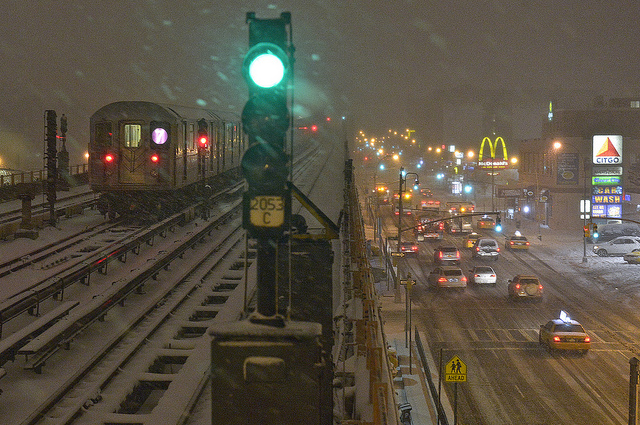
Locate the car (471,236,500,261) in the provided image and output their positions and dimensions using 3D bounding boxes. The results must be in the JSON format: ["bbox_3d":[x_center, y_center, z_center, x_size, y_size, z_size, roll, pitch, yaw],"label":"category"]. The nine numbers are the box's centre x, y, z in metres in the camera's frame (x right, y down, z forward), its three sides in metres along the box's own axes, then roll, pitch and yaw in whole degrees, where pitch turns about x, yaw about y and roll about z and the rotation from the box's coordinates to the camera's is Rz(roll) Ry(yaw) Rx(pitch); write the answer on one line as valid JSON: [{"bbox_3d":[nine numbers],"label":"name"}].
[{"bbox_3d":[13.728,3.086,49.280,2.038,1.788,1.437,0,1,11],"label":"car"}]

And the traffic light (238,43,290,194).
[{"bbox_3d":[-0.636,-1.103,7.042,0.565,1.771,0.395,0,1,-5],"label":"traffic light"}]

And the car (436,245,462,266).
[{"bbox_3d":[9.879,3.328,45.588,1.650,1.251,0.887,0,1,9],"label":"car"}]

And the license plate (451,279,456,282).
[{"bbox_3d":[8.505,4.303,37.791,0.289,0.154,0.053,0,1,-13],"label":"license plate"}]

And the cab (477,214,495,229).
[{"bbox_3d":[18.873,1.082,67.547,1.429,1.297,2.697,0,6,8],"label":"cab"}]

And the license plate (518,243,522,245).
[{"bbox_3d":[17.954,2.788,53.426,0.195,0.112,0.187,0,15,7],"label":"license plate"}]

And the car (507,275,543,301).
[{"bbox_3d":[12.410,4.517,36.133,1.195,0.918,1.893,0,5,6],"label":"car"}]

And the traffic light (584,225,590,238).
[{"bbox_3d":[22.295,1.586,49.645,0.399,0.948,1.645,1,1,23],"label":"traffic light"}]

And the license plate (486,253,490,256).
[{"bbox_3d":[13.746,3.407,48.638,0.267,0.212,0.101,0,1,-1],"label":"license plate"}]

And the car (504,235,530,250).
[{"bbox_3d":[17.911,2.753,54.165,1.861,1.164,1.536,0,1,20],"label":"car"}]

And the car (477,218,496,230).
[{"bbox_3d":[18.589,1.532,66.096,1.449,1.064,3.220,0,6,8],"label":"car"}]

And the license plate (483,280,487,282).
[{"bbox_3d":[10.920,4.493,39.275,0.272,0.130,0.069,0,1,-16],"label":"license plate"}]

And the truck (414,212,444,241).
[{"bbox_3d":[11.155,1.466,60.163,2.293,1.901,6.386,-1,0,4],"label":"truck"}]

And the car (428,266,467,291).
[{"bbox_3d":[8.242,4.293,38.326,2.219,1.491,1.315,0,1,18],"label":"car"}]

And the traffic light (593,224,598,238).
[{"bbox_3d":[22.785,1.513,49.249,0.279,1.018,1.834,1,1,24],"label":"traffic light"}]

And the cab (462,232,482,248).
[{"bbox_3d":[13.763,2.596,54.016,1.028,1.184,2.437,0,1,-3],"label":"cab"}]

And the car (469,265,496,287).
[{"bbox_3d":[10.823,4.177,39.852,1.052,0.836,1.727,0,6,5],"label":"car"}]

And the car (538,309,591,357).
[{"bbox_3d":[11.090,5.624,26.866,1.315,1.176,2.821,1,6,7],"label":"car"}]
